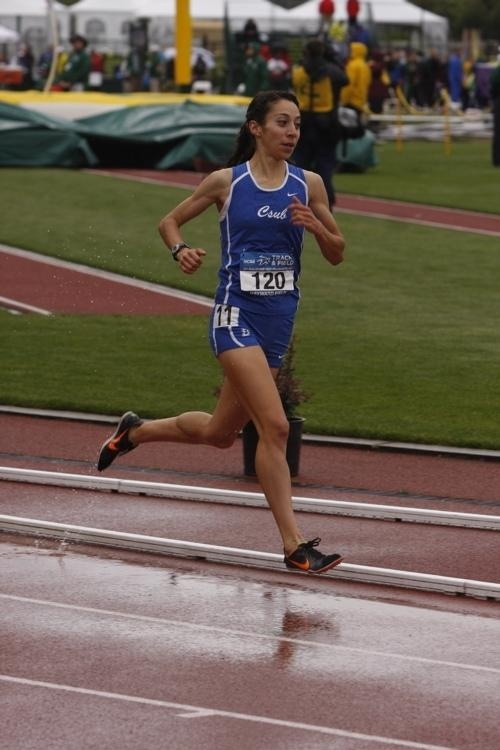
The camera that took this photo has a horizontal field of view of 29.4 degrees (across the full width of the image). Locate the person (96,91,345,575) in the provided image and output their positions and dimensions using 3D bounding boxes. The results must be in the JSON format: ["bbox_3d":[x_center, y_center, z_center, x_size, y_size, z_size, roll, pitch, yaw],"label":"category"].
[{"bbox_3d":[-0.005,-0.130,3.808,0.740,1.866,0.872,2,5,-5],"label":"person"}]

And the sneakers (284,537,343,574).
[{"bbox_3d":[0.276,0.668,3.537,0.284,0.118,0.095,-4,10,24],"label":"sneakers"}]
